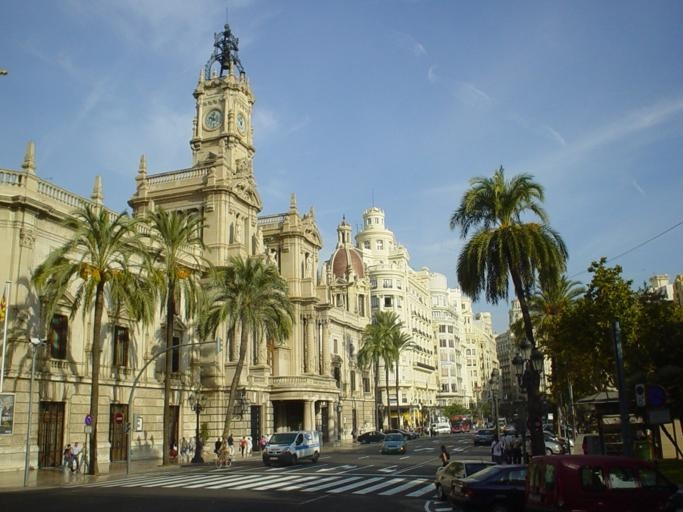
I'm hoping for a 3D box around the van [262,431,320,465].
[{"bbox_3d":[-3.260,12.921,41.011,1.823,1.874,4.356,-7,-26,17],"label":"van"}]

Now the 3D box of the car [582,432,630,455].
[{"bbox_3d":[14.329,10.210,33.247,1.682,1.363,4.486,-10,-24,16],"label":"car"}]

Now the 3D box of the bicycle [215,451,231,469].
[{"bbox_3d":[-7.874,13.521,40.265,0.671,0.962,1.535,-12,-36,15],"label":"bicycle"}]
